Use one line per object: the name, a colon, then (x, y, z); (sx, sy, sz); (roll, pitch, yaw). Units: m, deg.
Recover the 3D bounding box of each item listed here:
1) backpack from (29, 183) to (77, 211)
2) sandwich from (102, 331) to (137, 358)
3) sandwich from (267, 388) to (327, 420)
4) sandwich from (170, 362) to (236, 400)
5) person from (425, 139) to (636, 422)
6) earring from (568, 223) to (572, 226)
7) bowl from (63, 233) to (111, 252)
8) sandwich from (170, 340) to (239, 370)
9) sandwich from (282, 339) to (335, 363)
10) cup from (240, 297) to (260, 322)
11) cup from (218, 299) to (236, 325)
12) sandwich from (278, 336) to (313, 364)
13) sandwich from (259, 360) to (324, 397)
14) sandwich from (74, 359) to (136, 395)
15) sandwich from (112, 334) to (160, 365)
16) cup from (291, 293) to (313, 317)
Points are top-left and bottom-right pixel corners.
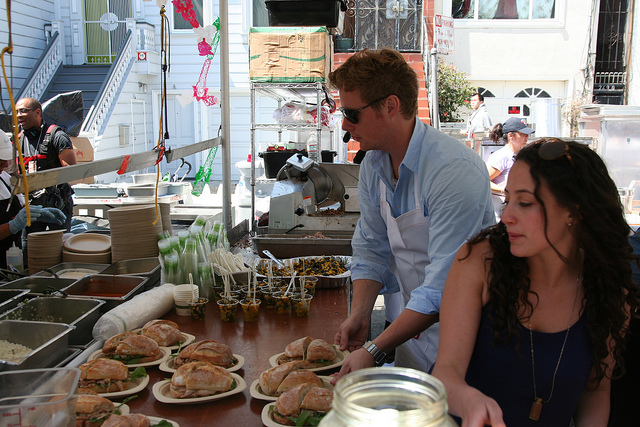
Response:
backpack: (-2.269, -0.138, 4.485); (0.366, 0.151, 0.294); (1, 9, 0)
sandwich: (-1.034, 0.688, 2.749); (0.169, 0.058, 0.130); (-34, -10, 24)
sandwich: (-0.098, 0.831, 2.332); (0.261, 0.109, 0.108); (0, 9, -2)
sandwich: (-0.553, 0.772, 2.470); (0.210, 0.093, 0.165); (2, 10, -5)
person: (0.900, 0.321, 2.309); (0.995, 1.267, 0.421); (-5, 10, -26)
earring: (1.045, 0.044, 2.214); (0.019, 0.012, 0.006); (-2, 9, -13)
bowl: (-1.700, 0.217, 3.911); (0.324, 0.106, 0.304); (0, 9, 0)
sandwich: (-0.597, 0.709, 2.745); (0.303, 0.113, 0.228); (4, -2, 25)
sandwich: (-0.065, 0.702, 2.706); (0.243, 0.099, 0.191); (-6, 10, -31)
cup: (-0.414, 0.565, 3.185); (0.126, 0.126, 0.124); (-1, 0, 0)
cup: (-0.545, 0.582, 3.154); (0.120, 0.107, 0.124); (1, -3, 0)
sandwich: (-0.118, 0.701, 2.759); (0.223, 0.082, 0.167); (-15, 17, 39)
sandwich: (-0.160, 0.764, 2.475); (0.210, 0.073, 0.160); (-9, 7, -44)
sandwich: (-1.056, 0.744, 2.552); (0.314, 0.120, 0.264); (7, 11, -24)
sandwich: (-0.933, 0.687, 2.691); (0.226, 0.107, 0.122); (-4, 10, -24)
cup: (-0.110, 0.558, 3.281); (0.121, 0.101, 0.127); (-1, 5, 0)
